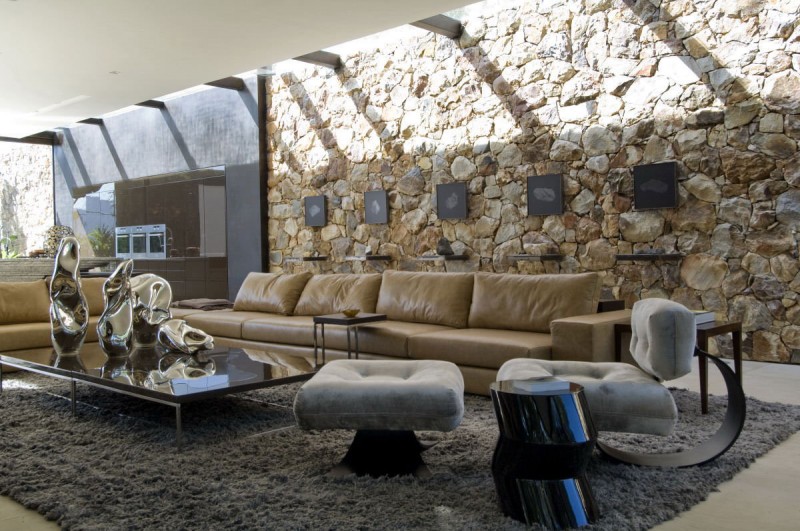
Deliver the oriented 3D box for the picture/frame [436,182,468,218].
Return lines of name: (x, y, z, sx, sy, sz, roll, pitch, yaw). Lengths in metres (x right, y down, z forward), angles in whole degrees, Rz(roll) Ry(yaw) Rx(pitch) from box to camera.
picture/frame: (0.687, -0.837, 7.497, 0.437, 0.490, 0.092, 0, 4, 36)

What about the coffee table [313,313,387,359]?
coffee table: (-0.556, 0.595, 5.412, 0.573, 0.500, 0.567, 0, 1, 30)

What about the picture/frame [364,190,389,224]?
picture/frame: (-0.340, -0.829, 8.164, 0.494, 0.424, 0.119, 3, 2, 41)

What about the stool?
stool: (-0.107, 0.929, 3.644, 1.253, 0.499, 1.153, -1, 2, -26)

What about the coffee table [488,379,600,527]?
coffee table: (0.726, 0.975, 3.168, 0.702, 0.634, 0.564, 2, 3, 41)

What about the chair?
chair: (1.409, 0.782, 3.770, 1.517, 0.909, 1.142, -1, -6, 3)

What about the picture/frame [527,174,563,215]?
picture/frame: (1.705, -0.832, 6.738, 0.488, 0.431, 0.114, 1, 2, 31)

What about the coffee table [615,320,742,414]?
coffee table: (2.334, 0.700, 4.542, 0.857, 0.753, 0.795, 3, -5, -42)

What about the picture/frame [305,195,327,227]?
picture/frame: (-1.313, -0.828, 8.840, 0.427, 0.497, 0.088, 0, 4, 34)
